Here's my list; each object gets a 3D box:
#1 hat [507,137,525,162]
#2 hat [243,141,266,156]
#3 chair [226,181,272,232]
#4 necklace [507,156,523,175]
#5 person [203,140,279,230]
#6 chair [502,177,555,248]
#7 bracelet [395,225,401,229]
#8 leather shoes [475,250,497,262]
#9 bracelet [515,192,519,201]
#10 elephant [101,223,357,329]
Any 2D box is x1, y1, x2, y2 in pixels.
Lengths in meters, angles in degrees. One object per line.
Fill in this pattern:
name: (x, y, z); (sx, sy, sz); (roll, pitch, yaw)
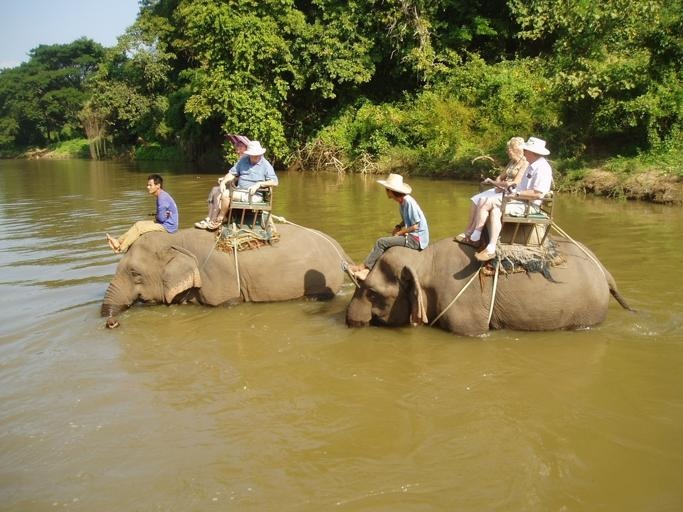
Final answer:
hat: (2.511, -1.541, 10.379); (0.339, 0.337, 0.273); (1, 5, 5)
hat: (-1.335, -1.630, 11.030); (0.297, 0.204, 0.260); (-2, 10, -15)
chair: (-1.405, -0.679, 11.082); (0.727, 0.784, 0.883); (4, 1, 1)
necklace: (2.519, -1.269, 10.438); (0.113, 0.288, 0.205); (20, -4, -36)
person: (-1.558, -1.077, 11.059); (1.096, 1.312, 0.719); (1, 17, -25)
chair: (2.413, -0.496, 9.811); (0.743, 0.712, 0.805); (6, 5, 1)
bracelet: (0.784, -0.386, 9.991); (0.065, 0.016, 0.062); (7, 15, 29)
leather shoes: (1.876, 0.002, 9.373); (0.229, 0.089, 0.130); (-8, 36, -26)
bracelet: (2.290, -0.762, 9.395); (0.067, 0.086, 0.026); (9, 5, 5)
elephant: (-1.707, 0.307, 11.289); (3.507, 1.680, 1.489); (-1, -2, -5)
